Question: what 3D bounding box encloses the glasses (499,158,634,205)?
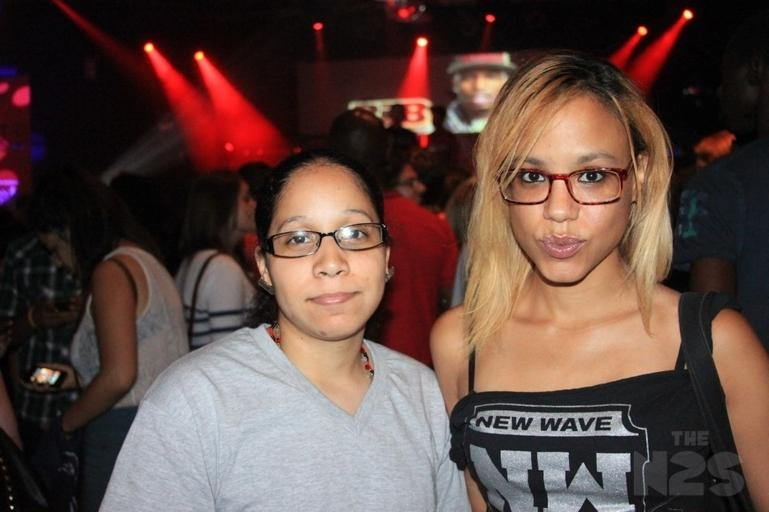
[{"bbox_3d":[0.767,-0.303,2.780,0.529,0.164,0.168,1,7,18],"label":"glasses"}]
